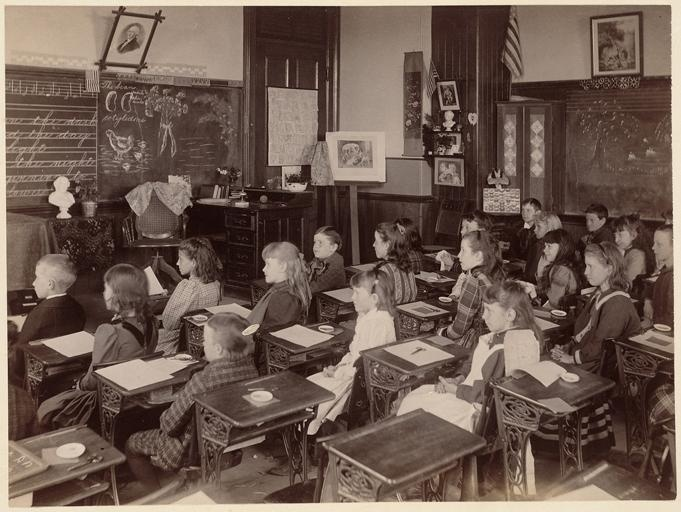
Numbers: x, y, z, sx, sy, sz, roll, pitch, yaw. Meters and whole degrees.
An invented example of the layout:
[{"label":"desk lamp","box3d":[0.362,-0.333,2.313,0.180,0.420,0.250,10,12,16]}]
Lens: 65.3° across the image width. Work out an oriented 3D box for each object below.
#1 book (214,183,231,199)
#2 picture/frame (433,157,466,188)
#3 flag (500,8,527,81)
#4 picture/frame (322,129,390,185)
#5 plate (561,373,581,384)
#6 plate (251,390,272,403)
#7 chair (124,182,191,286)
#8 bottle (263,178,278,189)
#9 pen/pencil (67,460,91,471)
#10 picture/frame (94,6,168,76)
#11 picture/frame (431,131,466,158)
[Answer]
[{"label":"book","box3d":[-1.767,-0.945,8.039,0.275,0.273,0.197,-3,6,-43]},{"label":"picture/frame","box3d":[1.675,-1.267,8.031,0.023,0.374,0.476,-8,9,-42]},{"label":"flag","box3d":[2.444,-2.991,7.560,0.340,0.966,0.256,5,10,34]},{"label":"picture/frame","box3d":[0.238,-1.517,8.328,0.910,0.776,0.071,1,2,1]},{"label":"plate","box3d":[1.364,0.723,3.145,0.091,0.032,0.111,6,11,38]},{"label":"plate","box3d":[-0.443,0.784,2.968,0.132,0.023,0.114,7,12,41]},{"label":"chair","box3d":[-2.438,-0.274,7.033,0.842,1.311,0.826,1,4,-16]},{"label":"bottle","box3d":[-1.101,-1.162,8.574,0.178,0.149,0.196,0,-2,5]},{"label":"pen/pencil","box3d":[-1.211,0.966,2.441,0.025,0.016,0.087,10,12,27]},{"label":"picture/frame","box3d":[-2.865,-2.904,7.157,0.844,0.981,0.187,17,12,-36]},{"label":"picture/frame","box3d":[1.648,-1.671,7.978,0.405,0.354,0.033,7,13,34]}]
